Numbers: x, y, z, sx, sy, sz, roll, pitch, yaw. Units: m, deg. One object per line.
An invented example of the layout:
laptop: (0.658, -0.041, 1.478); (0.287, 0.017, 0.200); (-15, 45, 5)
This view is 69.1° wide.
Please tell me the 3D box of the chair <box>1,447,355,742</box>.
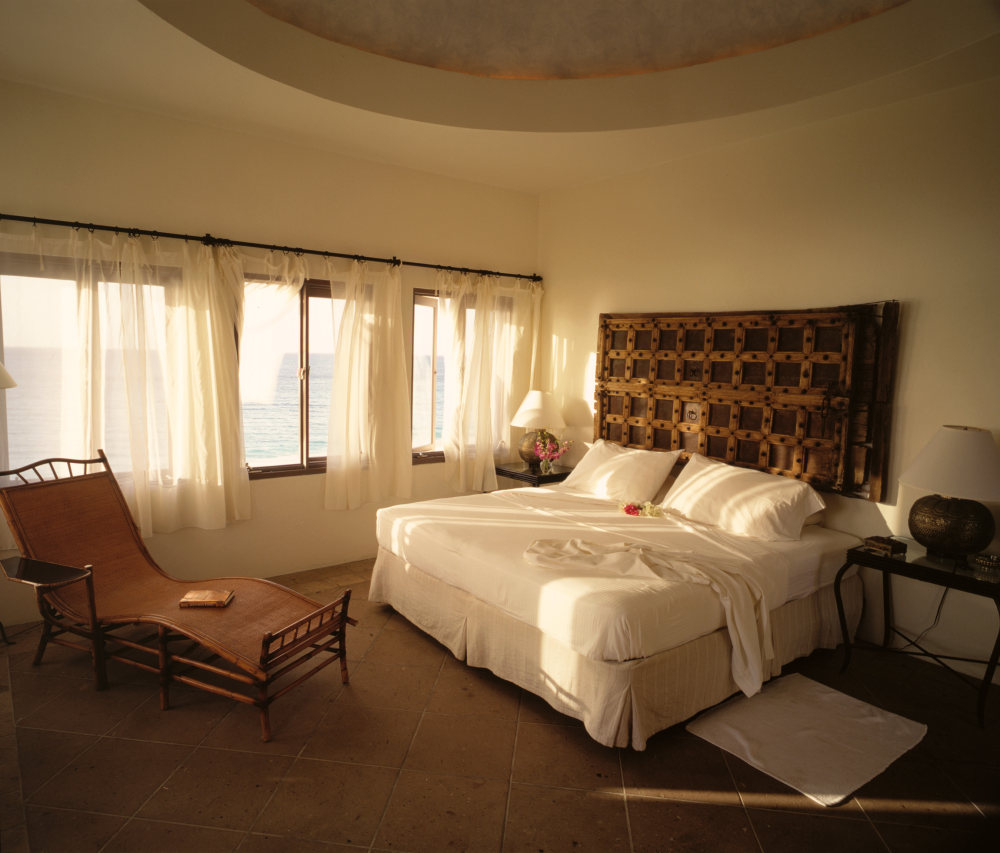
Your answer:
chair: (-1.460, 0.734, 3.273); (1.674, 1.105, 0.845); (10, 13, 27)

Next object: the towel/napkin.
towel/napkin: (0.612, 0.801, 3.084); (0.960, 0.432, 0.549); (1, 9, -6)

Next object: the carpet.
carpet: (1.201, 1.184, 2.831); (0.760, 0.052, 0.620); (-4, 9, -35)

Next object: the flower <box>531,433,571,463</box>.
flower: (0.356, 0.157, 5.129); (0.182, 0.164, 0.227); (1, -1, 3)
